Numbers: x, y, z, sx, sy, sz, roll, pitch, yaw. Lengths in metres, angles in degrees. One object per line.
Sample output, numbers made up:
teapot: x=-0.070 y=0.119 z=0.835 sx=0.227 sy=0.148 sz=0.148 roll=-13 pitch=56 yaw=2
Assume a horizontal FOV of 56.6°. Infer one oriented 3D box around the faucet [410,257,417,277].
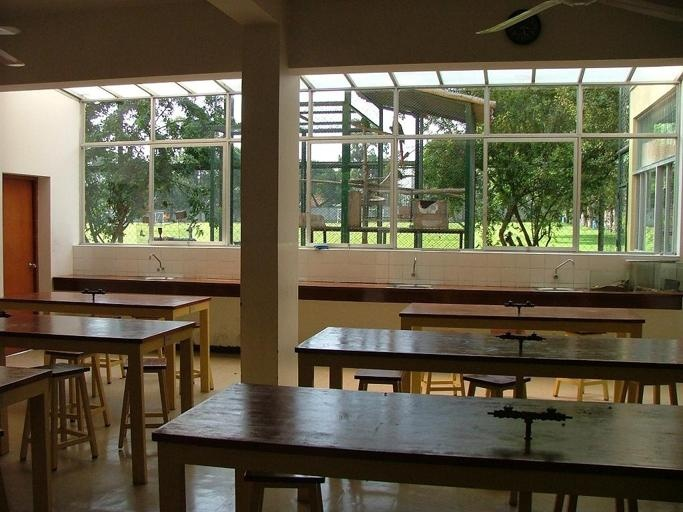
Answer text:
faucet: x=0.936 y=0.141 z=8.216 sx=0.073 sy=0.249 sz=0.033 roll=-1 pitch=3 yaw=-5
